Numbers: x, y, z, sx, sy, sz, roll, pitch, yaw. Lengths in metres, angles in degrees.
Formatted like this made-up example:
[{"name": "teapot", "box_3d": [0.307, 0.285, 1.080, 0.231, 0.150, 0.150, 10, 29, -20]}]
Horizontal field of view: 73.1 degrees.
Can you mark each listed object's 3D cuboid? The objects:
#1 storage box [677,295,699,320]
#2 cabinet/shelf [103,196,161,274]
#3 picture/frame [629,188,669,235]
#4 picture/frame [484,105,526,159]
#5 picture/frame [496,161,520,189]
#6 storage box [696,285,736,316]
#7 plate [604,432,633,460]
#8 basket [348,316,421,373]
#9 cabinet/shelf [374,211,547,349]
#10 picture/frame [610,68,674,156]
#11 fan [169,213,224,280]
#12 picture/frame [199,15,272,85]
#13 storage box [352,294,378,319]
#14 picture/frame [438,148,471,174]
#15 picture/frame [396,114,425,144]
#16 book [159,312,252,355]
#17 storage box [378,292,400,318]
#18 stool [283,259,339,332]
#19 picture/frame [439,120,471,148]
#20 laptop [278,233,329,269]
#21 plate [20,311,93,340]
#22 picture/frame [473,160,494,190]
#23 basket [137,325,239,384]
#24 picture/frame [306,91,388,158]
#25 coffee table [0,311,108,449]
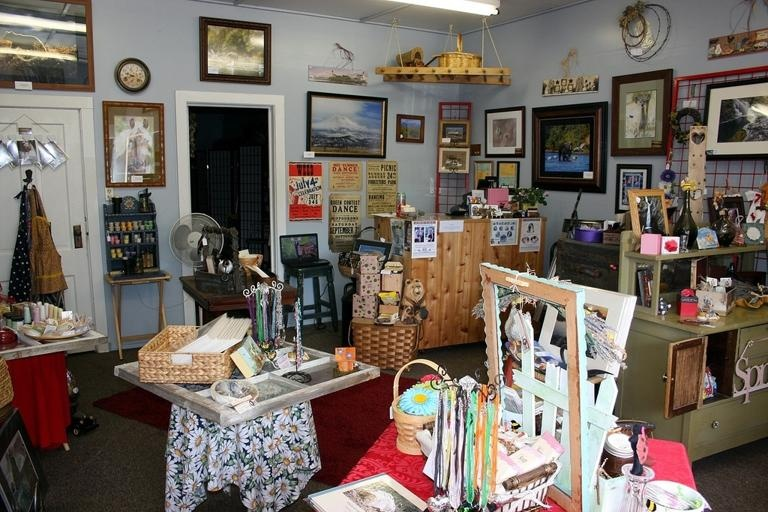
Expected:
[{"name": "storage box", "box_3d": [2.524, 0.426, 4.281, 0.163, 0.182, 0.080, -1, 10, 2]}, {"name": "cabinet/shelf", "box_3d": [-3.042, -0.283, 6.273, 0.609, 0.953, 0.368, -7, 11, -29]}, {"name": "picture/frame", "box_3d": [2.215, -0.366, 4.345, 0.410, 0.509, 0.031, -3, 0, -24]}, {"name": "picture/frame", "box_3d": [1.737, -1.765, 7.347, 0.057, 0.823, 0.778, -2, 4, -41]}, {"name": "picture/frame", "box_3d": [1.772, -1.153, 7.352, 0.461, 0.561, 0.041, 5, 5, 44]}, {"name": "storage box", "box_3d": [2.755, 0.362, 4.306, 0.217, 0.161, 0.223, -2, 6, -14]}, {"name": "plate", "box_3d": [1.202, 0.952, 2.663, 0.107, 0.108, 0.106, -6, 9, -41]}, {"name": "basket", "box_3d": [-0.003, 0.982, 5.895, 0.857, 0.675, 0.512, 2, 3, 22]}, {"name": "cabinet/shelf", "box_3d": [0.700, 0.244, 5.507, 1.552, 1.433, 0.599, -3, 6, -24]}, {"name": "picture/frame", "box_3d": [2.906, -1.611, 5.903, 0.105, 0.903, 0.695, -7, 12, -31]}, {"name": "fan", "box_3d": [-2.040, -0.128, 5.642, 0.689, 0.643, 0.362, 8, 13, 40]}, {"name": "picture/frame", "box_3d": [-1.909, -2.627, 6.551, 0.880, 0.794, 0.067, -2, 4, -24]}, {"name": "storage box", "box_3d": [-0.209, 0.557, 6.124, 0.264, 0.272, 0.270, 3, 8, 7]}, {"name": "picture/frame", "box_3d": [1.048, -1.440, 7.780, 0.360, 0.317, 0.028, 1, 1, -6]}, {"name": "picture/frame", "box_3d": [0.382, -1.907, 7.734, 0.433, 0.391, 0.049, -3, 10, -28]}, {"name": "book", "box_3d": [-1.385, 0.614, 4.096, 0.474, 0.156, 0.492, -25, 11, -20]}, {"name": "storage box", "box_3d": [0.054, 0.563, 5.918, 0.219, 0.281, 0.150, 2, 21, 8]}, {"name": "stool", "box_3d": [-0.927, 0.500, 7.366, 0.789, 1.255, 0.865, -4, 3, -28]}, {"name": "picture/frame", "box_3d": [1.059, -1.833, 7.782, 0.391, 0.361, 0.042, 1, 0, -3]}, {"name": "laptop", "box_3d": [-1.149, -0.100, 7.163, 0.614, 0.441, 0.432, -1, 2, -30]}, {"name": "plate", "box_3d": [-2.740, 0.606, 4.384, 0.305, 0.085, 0.316, 2, 6, 13]}, {"name": "picture/frame", "box_3d": [1.471, -1.252, 7.750, 0.094, 0.390, 0.417, -6, 11, -28]}, {"name": "basket", "box_3d": [-1.413, 0.737, 3.666, 0.452, 0.180, 0.471, 1, 9, -1]}, {"name": "picture/frame", "box_3d": [-0.567, -1.877, 7.286, 0.971, 0.721, 0.044, -1, 5, -28]}, {"name": "coffee table", "box_3d": [-2.864, 1.084, 4.595, 0.960, 0.996, 0.966, 8, 9, 43]}]
